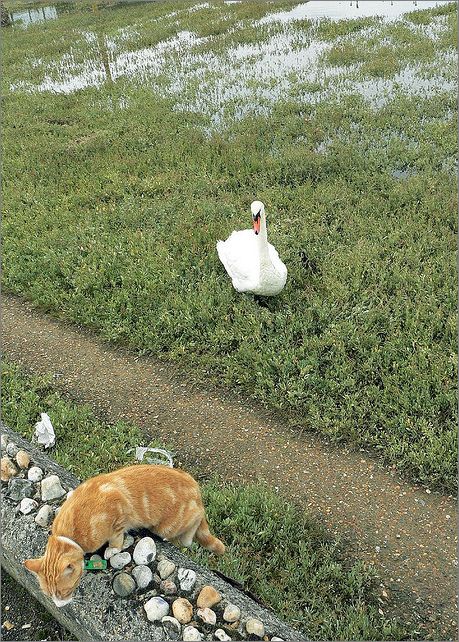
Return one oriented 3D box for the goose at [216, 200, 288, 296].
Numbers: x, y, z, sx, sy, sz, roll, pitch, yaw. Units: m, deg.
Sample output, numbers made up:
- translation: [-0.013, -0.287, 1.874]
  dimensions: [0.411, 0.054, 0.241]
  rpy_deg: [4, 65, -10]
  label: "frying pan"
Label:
- translation: [0.347, -1.037, 11.183]
  dimensions: [0.562, 1.281, 1.339]
  rpy_deg: [-16, 61, -3]
  label: "goose"
